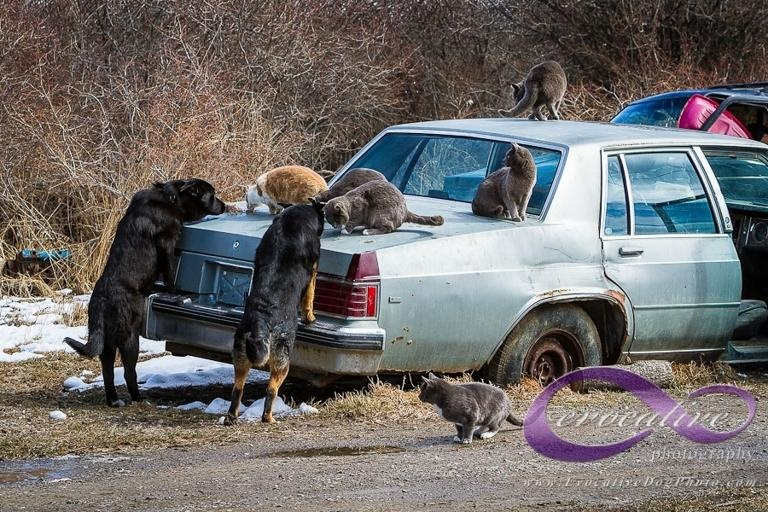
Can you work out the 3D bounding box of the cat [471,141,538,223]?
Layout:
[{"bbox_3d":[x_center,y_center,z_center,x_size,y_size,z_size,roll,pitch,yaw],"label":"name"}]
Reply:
[{"bbox_3d":[1.108,-0.635,8.276,0.404,0.648,0.614,3,-3,-33],"label":"cat"}]

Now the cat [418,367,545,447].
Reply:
[{"bbox_3d":[0.840,1.208,7.383,1.125,0.564,0.292,0,-2,-16],"label":"cat"}]

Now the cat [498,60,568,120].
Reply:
[{"bbox_3d":[1.772,-1.810,9.976,0.430,0.699,1.362,6,15,26],"label":"cat"}]

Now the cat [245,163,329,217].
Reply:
[{"bbox_3d":[-0.936,-0.612,8.611,0.875,0.437,0.280,-1,4,31],"label":"cat"}]

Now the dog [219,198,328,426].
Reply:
[{"bbox_3d":[-0.905,0.504,7.581,0.871,1.807,0.435,-3,9,-19],"label":"dog"}]
